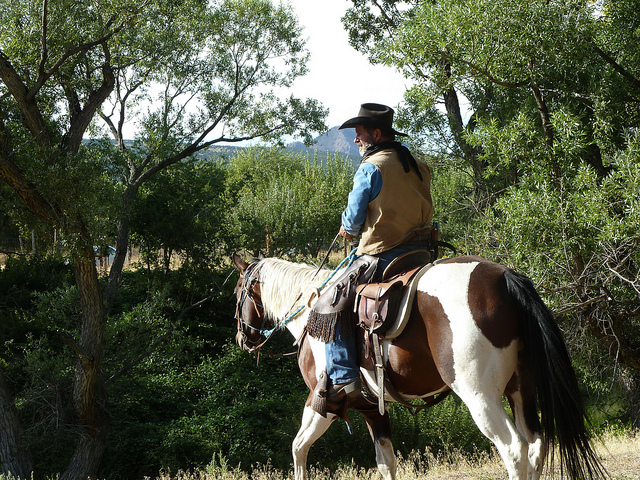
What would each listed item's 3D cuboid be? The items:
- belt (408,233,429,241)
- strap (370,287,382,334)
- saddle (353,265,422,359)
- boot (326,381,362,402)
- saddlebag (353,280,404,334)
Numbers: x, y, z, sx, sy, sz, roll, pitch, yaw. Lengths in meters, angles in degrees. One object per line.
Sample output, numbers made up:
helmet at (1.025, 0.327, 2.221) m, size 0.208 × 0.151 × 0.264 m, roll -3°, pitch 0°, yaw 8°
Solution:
belt at (1.634, -0.055, 11.889) m, size 0.386 × 0.147 × 0.048 m, roll 7°, pitch -25°, yaw -25°
strap at (0.888, 1.136, 11.437) m, size 0.065 × 0.752 × 0.100 m, roll 26°, pitch 26°, yaw 29°
saddle at (1.027, 1.007, 11.821) m, size 1.102 × 1.480 × 0.893 m, roll -4°, pitch 9°, yaw -43°
boot at (0.366, 2.474, 11.811) m, size 0.662 × 0.290 × 0.313 m, roll -14°, pitch -14°, yaw 16°
saddlebag at (0.938, 0.971, 11.679) m, size 0.802 × 0.911 × 0.630 m, roll -5°, pitch 9°, yaw -45°
